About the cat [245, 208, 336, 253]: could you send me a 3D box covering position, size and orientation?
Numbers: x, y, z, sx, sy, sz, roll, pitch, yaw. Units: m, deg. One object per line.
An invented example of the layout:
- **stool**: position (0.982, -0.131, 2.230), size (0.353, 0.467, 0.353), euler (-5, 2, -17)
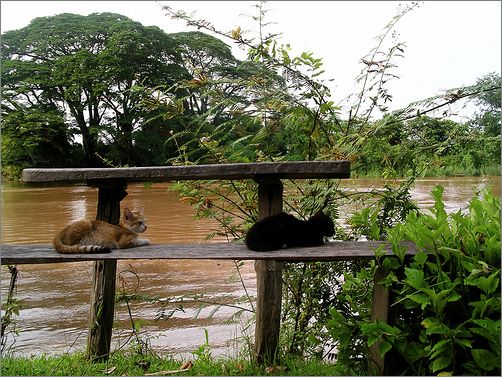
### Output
- **cat**: position (0.327, 0.340, 3.448), size (0.662, 0.211, 0.308), euler (-3, 4, -18)
